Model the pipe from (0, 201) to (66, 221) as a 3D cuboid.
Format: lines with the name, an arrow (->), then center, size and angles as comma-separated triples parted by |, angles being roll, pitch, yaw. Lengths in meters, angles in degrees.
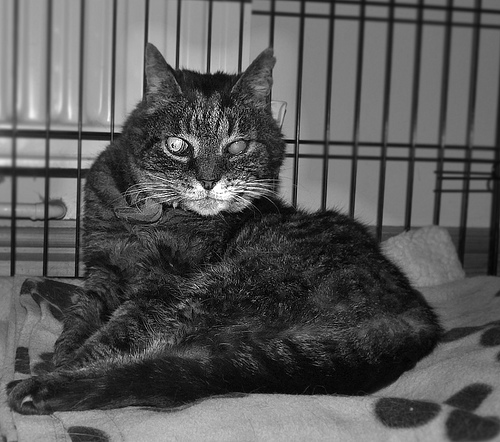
pipe -> -0.862, -0.042, 2.661 | 0.212, 0.065, 0.056 | 3, 9, 6

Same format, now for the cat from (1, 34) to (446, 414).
cat -> -0.023, 0.134, 2.012 | 1.360, 1.108, 0.905 | 1, -2, 6
